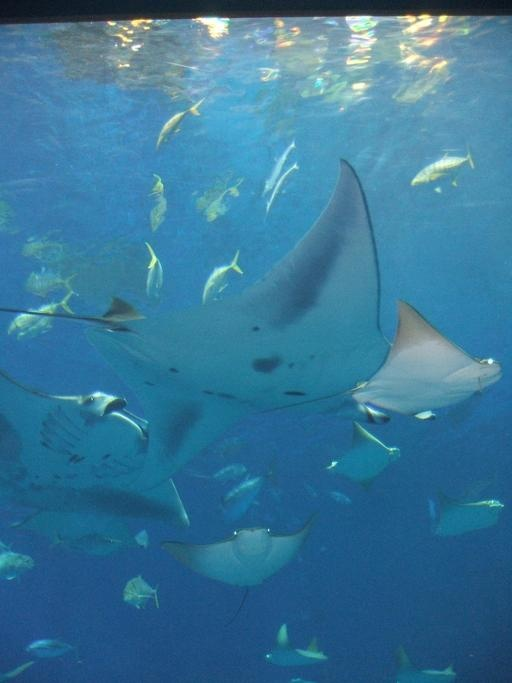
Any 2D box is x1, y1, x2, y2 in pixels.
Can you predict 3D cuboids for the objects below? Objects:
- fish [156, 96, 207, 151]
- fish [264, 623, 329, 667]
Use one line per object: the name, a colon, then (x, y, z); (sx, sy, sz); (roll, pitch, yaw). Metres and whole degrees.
fish: (-0.336, -0.932, 3.144); (0.301, 0.105, 0.105); (-38, 60, -6)
fish: (0.159, 1.303, 3.111); (0.221, 0.234, 0.081); (-6, 36, 5)
